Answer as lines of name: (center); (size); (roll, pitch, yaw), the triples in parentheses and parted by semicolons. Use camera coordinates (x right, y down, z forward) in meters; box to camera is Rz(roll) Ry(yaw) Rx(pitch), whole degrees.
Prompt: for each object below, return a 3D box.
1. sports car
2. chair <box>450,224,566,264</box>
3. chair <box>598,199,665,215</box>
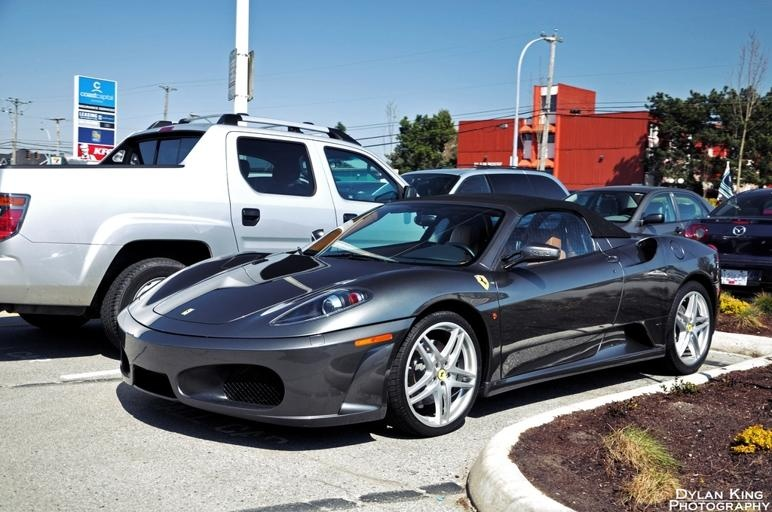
sports car: (0.684, 0.347, 5.662); (5.791, 1.908, 2.083); (-3, 10, -30)
chair: (1.203, -0.063, 4.975); (0.764, 0.257, 0.446); (12, -4, -19)
chair: (4.555, -0.950, 10.506); (0.978, 0.327, 0.474); (-8, 14, -26)
